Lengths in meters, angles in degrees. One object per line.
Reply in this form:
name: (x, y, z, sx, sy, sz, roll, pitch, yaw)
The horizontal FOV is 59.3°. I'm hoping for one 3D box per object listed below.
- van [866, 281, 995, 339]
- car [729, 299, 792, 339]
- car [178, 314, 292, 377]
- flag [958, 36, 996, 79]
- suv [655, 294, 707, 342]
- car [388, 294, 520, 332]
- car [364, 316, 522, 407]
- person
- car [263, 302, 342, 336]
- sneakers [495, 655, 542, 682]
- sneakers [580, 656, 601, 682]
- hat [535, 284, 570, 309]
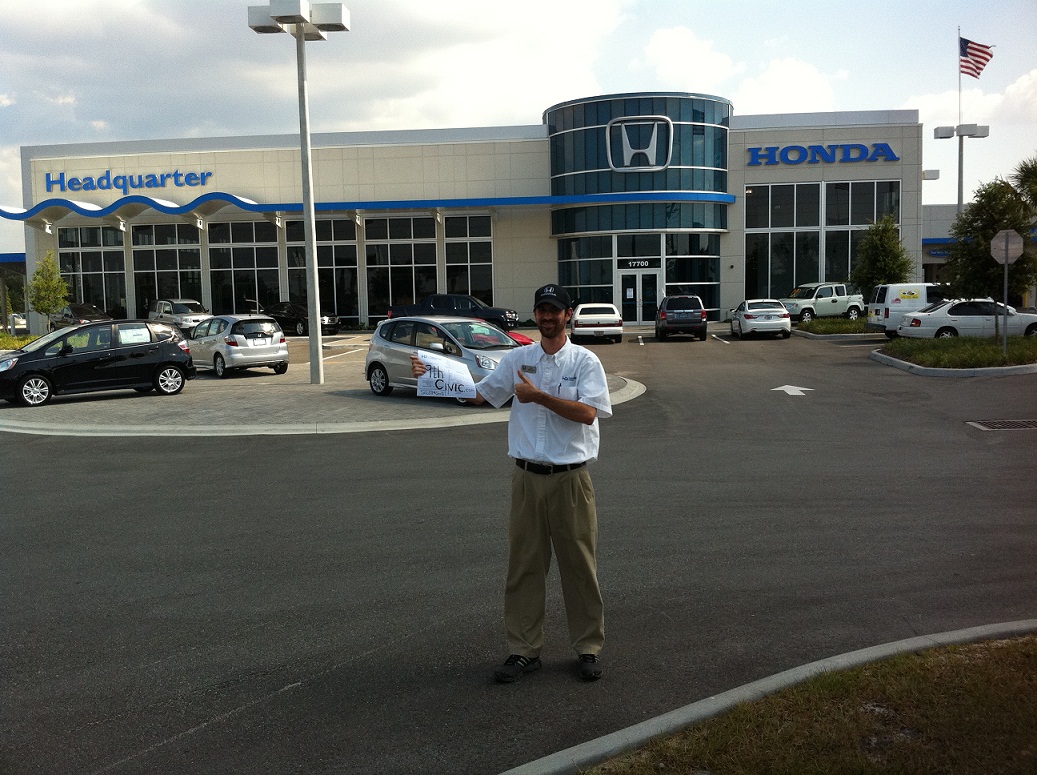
van: (13.787, -2.748, 31.793, 2.775, 1.475, 1.615, -7, 10, -6)
car: (9.190, -2.540, 34.357, 1.767, 1.391, 2.005, -2, 8, -3)
car: (-7.595, -1.246, 24.210, 1.517, 1.156, 2.421, -5, 13, -36)
flag: (23.641, -17.034, 47.339, 1.201, 2.113, 1.527, 2, 8, 24)
suv: (6.087, -2.563, 34.453, 1.791, 1.605, 1.533, -2, 7, -2)
car: (-2.699, -2.564, 38.917, 5.157, 1.978, 2.440, -1, 8, 9)
car: (-1.649, -0.534, 18.232, 2.537, 1.207, 1.608, -1, 5, 28)
person: (0.181, 0.581, 6.040, 0.871, 2.482, 0.789, -2, 7, -4)
car: (-9.862, -3.160, 41.848, 3.519, 1.320, 1.700, 1, 7, 18)
sneakers: (-0.004, 1.794, 5.901, 0.115, 0.142, 0.292, -3, -5, 43)
sneakers: (0.462, 1.790, 5.896, 0.144, 0.119, 0.209, -1, 8, 3)
hat: (0.229, -0.591, 5.986, 0.228, 0.148, 0.358, -1, 8, 3)
